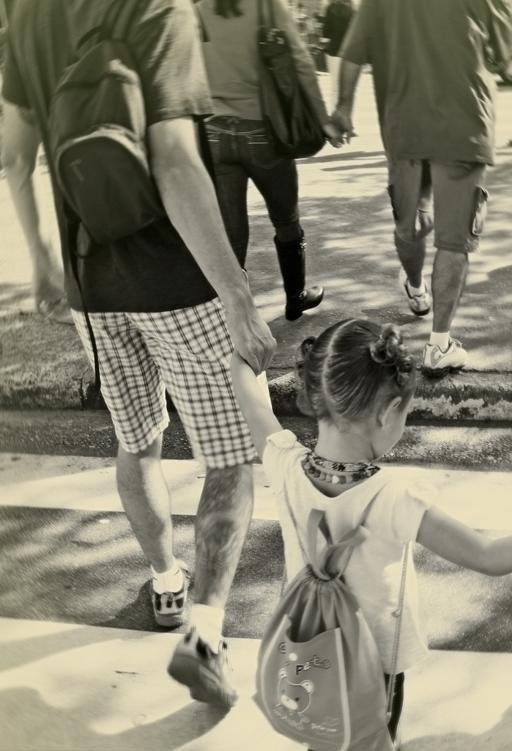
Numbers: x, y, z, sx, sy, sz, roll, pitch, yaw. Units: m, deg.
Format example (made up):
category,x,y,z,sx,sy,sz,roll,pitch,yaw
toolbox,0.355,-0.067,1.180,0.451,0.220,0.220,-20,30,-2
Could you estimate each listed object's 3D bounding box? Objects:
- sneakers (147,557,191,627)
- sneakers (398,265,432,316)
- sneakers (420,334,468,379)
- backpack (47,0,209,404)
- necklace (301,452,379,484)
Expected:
category,x,y,z,sx,sy,sz,roll,pitch,yaw
sneakers,-0.255,0.644,2.535,0.092,0.099,0.220,-1,34,0
sneakers,0.861,-0.479,4.554,0.121,0.138,0.306,-11,55,3
sneakers,0.861,-0.075,3.859,0.121,0.143,0.270,13,23,42
backpack,-0.357,-0.399,2.097,0.309,0.959,0.209,-10,33,1
necklace,0.168,0.189,1.693,0.083,0.028,0.080,-9,11,-21
